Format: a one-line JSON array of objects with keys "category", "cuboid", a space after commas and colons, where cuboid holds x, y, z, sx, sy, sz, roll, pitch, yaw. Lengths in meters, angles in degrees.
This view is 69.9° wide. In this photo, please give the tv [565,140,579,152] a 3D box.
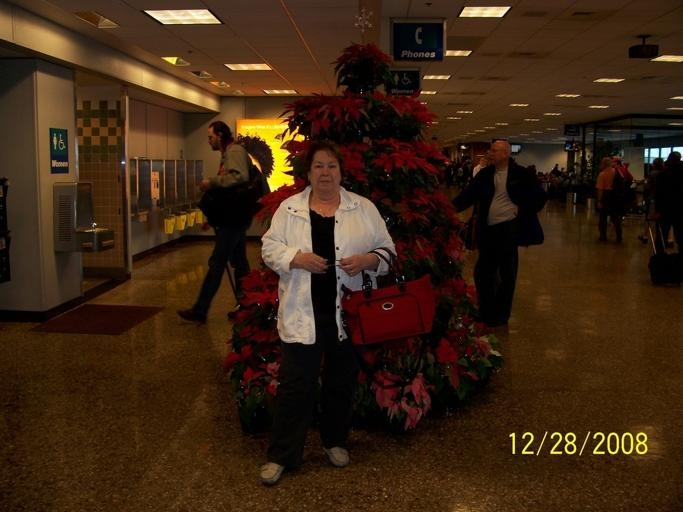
[{"category": "tv", "cuboid": [13.325, -6.476, 28.226, 0.711, 0.575, 1.052, 4, 10, 25]}]

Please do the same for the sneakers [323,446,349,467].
[{"category": "sneakers", "cuboid": [-0.016, 1.134, 2.750, 0.080, 0.056, 0.136, 4, -7, -25]}]

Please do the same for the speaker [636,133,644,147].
[{"category": "speaker", "cuboid": [12.131, -4.836, 19.934, 0.290, 0.498, 0.230, 4, 10, 28]}]

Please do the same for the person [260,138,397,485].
[{"category": "person", "cuboid": [-0.093, 0.300, 2.640, 0.742, 1.830, 0.423, -2, 9, -11]}]

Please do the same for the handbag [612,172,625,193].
[{"category": "handbag", "cuboid": [6.842, -1.889, 12.123, 0.243, 0.494, 0.281, 4, 10, 27]}]

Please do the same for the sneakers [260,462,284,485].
[{"category": "sneakers", "cuboid": [-0.374, 1.154, 2.568, 0.065, 0.064, 0.162, 0, -11, 5]}]

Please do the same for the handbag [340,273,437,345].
[{"category": "handbag", "cuboid": [0.222, 0.270, 2.534, 0.396, 0.376, 0.165, -9, -8, -6]}]

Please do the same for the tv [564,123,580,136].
[{"category": "tv", "cuboid": [11.456, -6.424, 24.333, 0.572, 0.489, 0.085, 0, 12, 3]}]

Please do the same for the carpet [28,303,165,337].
[{"category": "carpet", "cuboid": [-2.867, 0.741, 5.812, 1.210, 0.023, 1.244, 1, 10, 6]}]

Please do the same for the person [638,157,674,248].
[{"category": "person", "cuboid": [6.837, -1.203, 10.823, 0.573, 1.868, 0.641, 19, 21, 30]}]

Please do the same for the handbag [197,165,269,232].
[{"category": "handbag", "cuboid": [-1.218, -0.803, 5.793, 0.700, 0.945, 0.997, -1, 1, -7]}]
